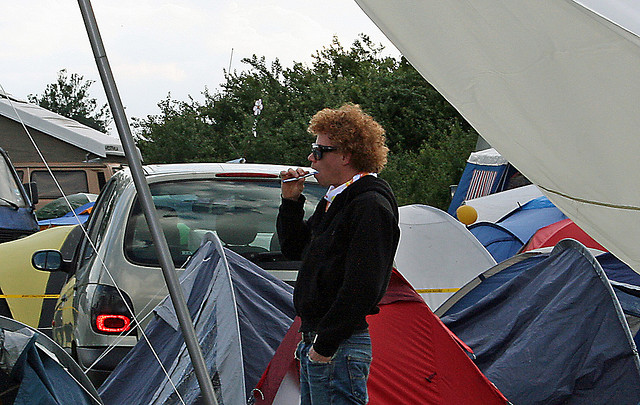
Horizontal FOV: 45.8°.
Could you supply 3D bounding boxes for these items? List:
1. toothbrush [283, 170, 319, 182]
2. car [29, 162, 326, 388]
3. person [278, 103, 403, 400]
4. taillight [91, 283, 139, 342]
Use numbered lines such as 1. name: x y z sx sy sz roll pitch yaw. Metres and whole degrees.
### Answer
1. toothbrush: -0.142 -0.198 5.431 0.294 0.033 0.047 -20 31 -3
2. car: -1.408 0.464 6.946 1.780 1.155 2.374 -2 3 -14
3. person: 0.185 0.324 5.006 0.698 1.857 0.738 -3 9 6
4. taillight: -1.781 0.911 6.445 0.330 0.414 0.132 -3 9 5
